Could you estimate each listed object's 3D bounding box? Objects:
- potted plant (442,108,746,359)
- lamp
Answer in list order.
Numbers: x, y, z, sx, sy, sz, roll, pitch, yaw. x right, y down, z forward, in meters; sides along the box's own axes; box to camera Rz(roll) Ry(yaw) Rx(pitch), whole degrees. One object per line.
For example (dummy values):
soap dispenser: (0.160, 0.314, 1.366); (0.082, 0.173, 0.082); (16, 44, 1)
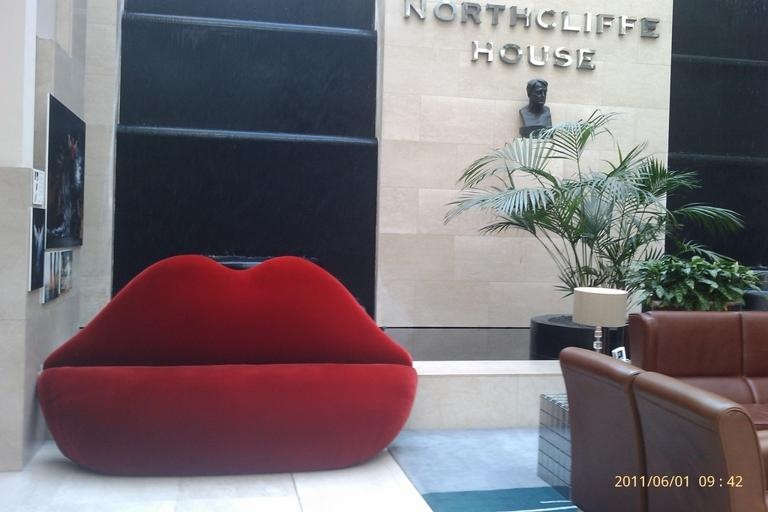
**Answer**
potted plant: (2.401, -0.442, 7.678); (3.120, 3.078, 3.169); (1, -6, -4)
lamp: (1.791, 0.600, 5.558); (0.415, 0.691, 0.419); (-4, 12, -19)
